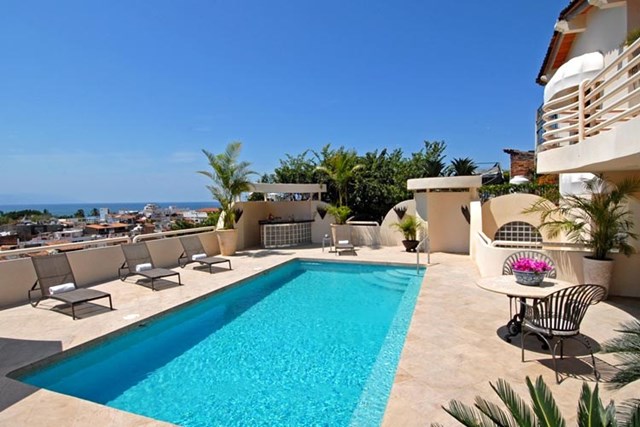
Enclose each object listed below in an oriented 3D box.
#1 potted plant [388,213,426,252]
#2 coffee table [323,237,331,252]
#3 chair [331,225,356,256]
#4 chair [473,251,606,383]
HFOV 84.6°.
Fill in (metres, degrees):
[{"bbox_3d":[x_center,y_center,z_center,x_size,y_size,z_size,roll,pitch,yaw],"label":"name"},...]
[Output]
[{"bbox_3d":[4.334,0.916,16.704,1.452,1.378,1.401,0,-4,32],"label":"potted plant"},{"bbox_3d":[0.346,1.572,18.225,0.501,0.769,0.615,0,-3,0],"label":"coffee table"},{"bbox_3d":[1.077,1.094,16.611,0.748,1.177,2.368,-2,0,2],"label":"chair"},{"bbox_3d":[4.513,2.021,7.137,1.864,2.018,1.497,0,5,43],"label":"chair"}]
